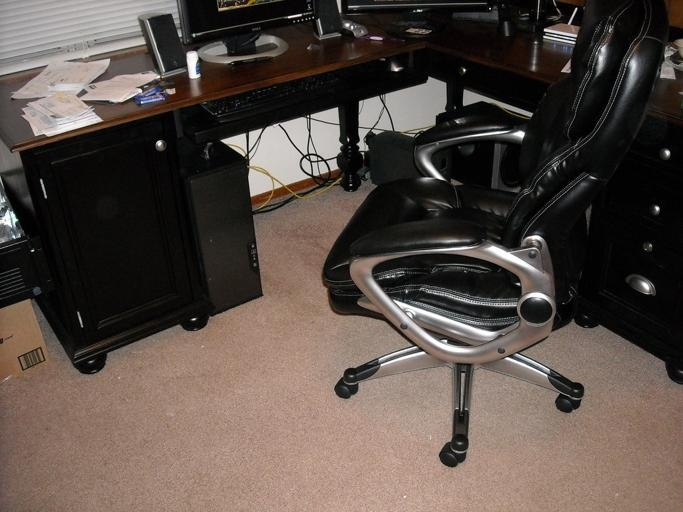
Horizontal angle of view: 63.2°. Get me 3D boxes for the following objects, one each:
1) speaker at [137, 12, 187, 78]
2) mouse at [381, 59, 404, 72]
[{"bbox_3d":[-0.727,-0.854,2.244,0.146,0.220,0.152,7,34,30],"label":"speaker"},{"bbox_3d":[0.234,-0.869,2.534,0.063,0.062,0.057,10,56,35],"label":"mouse"}]
